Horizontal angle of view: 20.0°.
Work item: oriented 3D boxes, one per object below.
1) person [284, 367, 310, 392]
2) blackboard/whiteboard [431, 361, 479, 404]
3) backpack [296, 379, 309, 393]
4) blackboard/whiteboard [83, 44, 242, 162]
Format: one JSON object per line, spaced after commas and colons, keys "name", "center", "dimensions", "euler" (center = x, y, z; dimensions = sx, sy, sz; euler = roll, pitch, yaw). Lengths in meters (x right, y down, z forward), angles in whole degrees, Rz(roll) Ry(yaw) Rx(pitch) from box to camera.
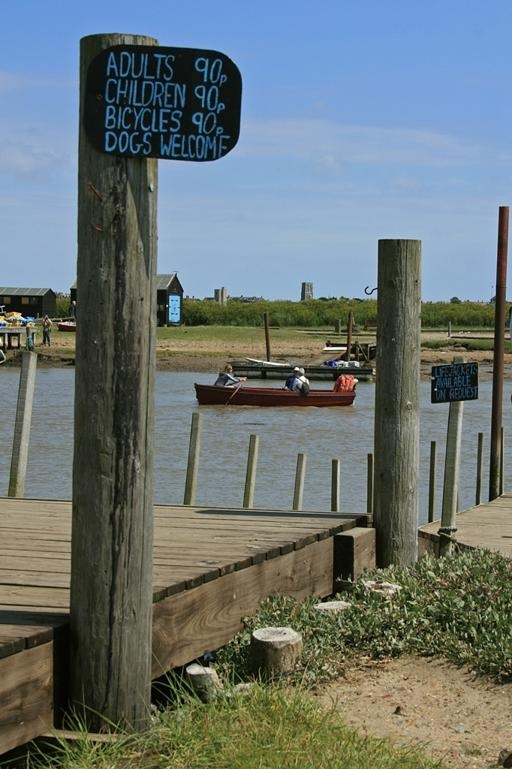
{"name": "person", "center": [1.139, -0.105, 37.779], "dimensions": [0.562, 0.943, 0.706], "euler": [2, 30, -1]}
{"name": "blackboard/whiteboard", "center": [1.474, -0.009, 10.612], "dimensions": [0.386, 0.350, 0.032], "euler": [-4, -8, 38]}
{"name": "backpack", "center": [1.237, 0.056, 37.853], "dimensions": [0.336, 0.468, 0.983], "euler": [4, 3, 3]}
{"name": "blackboard/whiteboard", "center": [-0.383, -1.158, 5.965], "dimensions": [0.639, 0.443, 0.085], "euler": [4, 3, 2]}
